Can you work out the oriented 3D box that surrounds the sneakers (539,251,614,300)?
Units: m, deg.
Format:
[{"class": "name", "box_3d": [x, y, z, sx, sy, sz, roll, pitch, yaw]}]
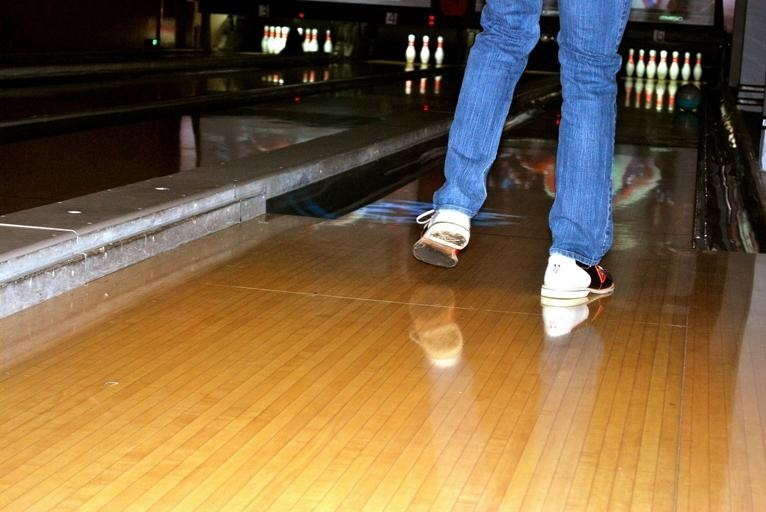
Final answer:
[{"class": "sneakers", "box_3d": [0.458, 0.055, 1.279, 0.217, 0.065, 0.087, 2, 3, -42]}]

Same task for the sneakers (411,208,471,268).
[{"class": "sneakers", "box_3d": [0.134, -0.043, 1.404, 0.106, 0.078, 0.220, 16, -16, -3]}]
